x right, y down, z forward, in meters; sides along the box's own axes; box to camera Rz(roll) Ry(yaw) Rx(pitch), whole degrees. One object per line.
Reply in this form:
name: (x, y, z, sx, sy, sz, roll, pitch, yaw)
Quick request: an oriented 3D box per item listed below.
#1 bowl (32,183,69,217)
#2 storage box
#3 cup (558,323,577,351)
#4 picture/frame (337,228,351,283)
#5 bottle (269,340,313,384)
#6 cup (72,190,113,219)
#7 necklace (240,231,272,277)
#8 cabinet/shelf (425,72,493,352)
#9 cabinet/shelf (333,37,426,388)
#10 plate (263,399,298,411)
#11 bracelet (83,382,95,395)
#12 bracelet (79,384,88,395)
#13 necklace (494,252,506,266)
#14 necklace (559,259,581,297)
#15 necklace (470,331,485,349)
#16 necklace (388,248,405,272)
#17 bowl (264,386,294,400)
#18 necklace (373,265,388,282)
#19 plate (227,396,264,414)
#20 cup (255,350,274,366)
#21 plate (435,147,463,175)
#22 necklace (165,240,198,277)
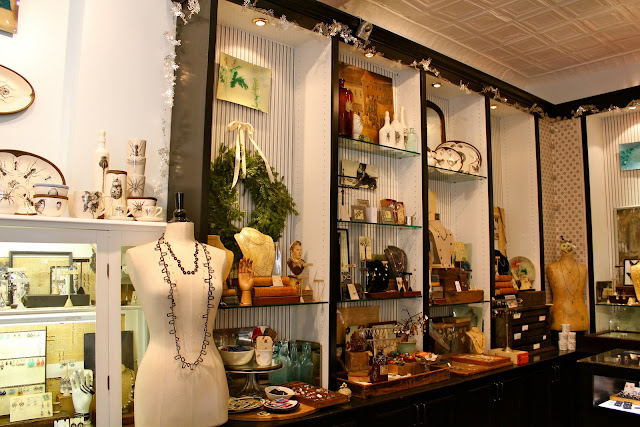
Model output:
bowl: (-1.716, -0.078, 3.253, 0.213, 0.194, 0.196, -1, -3, 0)
storage box: (2.196, 1.246, 5.458, 0.925, 0.471, 0.159, 4, -10, -37)
cup: (2.802, 1.400, 5.704, 0.106, 0.285, 0.195, 20, -23, -34)
picture/frame: (0.205, 0.379, 4.416, 0.064, 0.487, 0.417, -3, -8, 19)
bottle: (-0.224, 1.193, 4.040, 0.357, 0.339, 0.053, -1, -9, -10)
cup: (-1.550, -0.051, 3.452, 0.227, 0.179, 0.171, 5, -12, -34)
necklace: (-0.494, 0.322, 3.868, 0.199, 0.353, 0.305, -6, -7, 42)
cabinet/shelf: (1.423, 0.035, 5.306, 0.877, 2.755, 0.521, 3, -10, -29)
cabinet/shelf: (0.474, -0.057, 4.672, 1.104, 2.982, 0.609, 4, -10, -34)
plate: (-0.276, 1.380, 3.618, 0.248, 0.073, 0.088, -1, -8, -6)
bracelet: (-1.490, 1.131, 3.254, 0.063, 0.077, 0.032, 4, 0, -13)
bracelet: (-1.515, 1.133, 3.249, 0.038, 0.055, 0.014, -27, -5, -24)
necklace: (2.009, 0.501, 5.657, 0.181, 0.166, 0.086, 4, -10, -34)
necklace: (2.901, 0.748, 5.844, 0.236, 0.353, 0.083, 2, -7, 2)
necklace: (1.579, 1.285, 5.088, 0.161, 0.168, 0.102, 8, -6, -35)
necklace: (0.721, 0.438, 4.797, 0.161, 0.221, 0.068, 6, -17, -31)
bowl: (-0.298, 1.329, 3.748, 0.213, 0.084, 0.182, -2, -8, -2)
necklace: (0.557, 0.544, 4.642, 0.116, 0.117, 0.116, 2, -13, -11)
plate: (-0.527, 1.379, 3.644, 0.251, 0.077, 0.195, -1, -9, -11)
cup: (-0.404, 1.063, 3.702, 0.116, 0.094, 0.114, -2, -9, 0)
plate: (1.370, -0.579, 5.296, 0.301, 0.302, 0.188, -3, -9, 6)
necklace: (-0.885, 0.314, 3.347, 0.021, 0.252, 0.168, -30, -18, 38)
